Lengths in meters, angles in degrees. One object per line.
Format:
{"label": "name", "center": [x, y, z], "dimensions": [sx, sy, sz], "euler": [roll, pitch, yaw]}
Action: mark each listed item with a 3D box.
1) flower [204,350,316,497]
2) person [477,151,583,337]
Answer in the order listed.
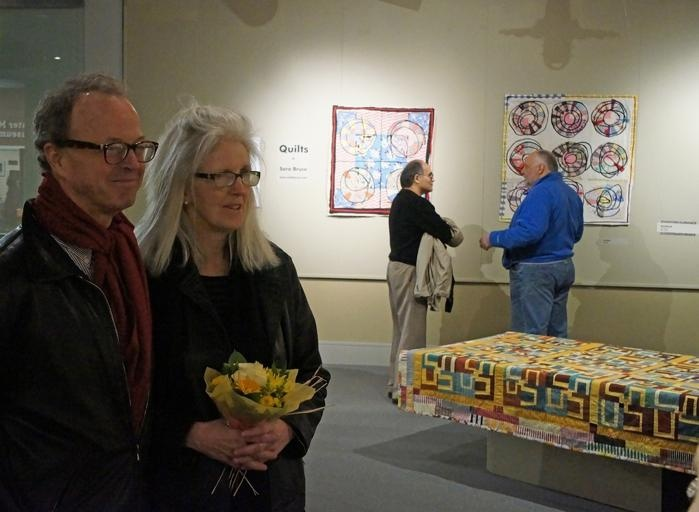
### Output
{"label": "flower", "center": [-0.263, 0.454, 1.822], "dimensions": [0.386, 0.428, 0.373], "euler": [-5, 18, -25]}
{"label": "person", "center": [1.588, -0.086, 4.549], "dimensions": [0.735, 1.533, 0.404], "euler": [-1, 4, -20]}
